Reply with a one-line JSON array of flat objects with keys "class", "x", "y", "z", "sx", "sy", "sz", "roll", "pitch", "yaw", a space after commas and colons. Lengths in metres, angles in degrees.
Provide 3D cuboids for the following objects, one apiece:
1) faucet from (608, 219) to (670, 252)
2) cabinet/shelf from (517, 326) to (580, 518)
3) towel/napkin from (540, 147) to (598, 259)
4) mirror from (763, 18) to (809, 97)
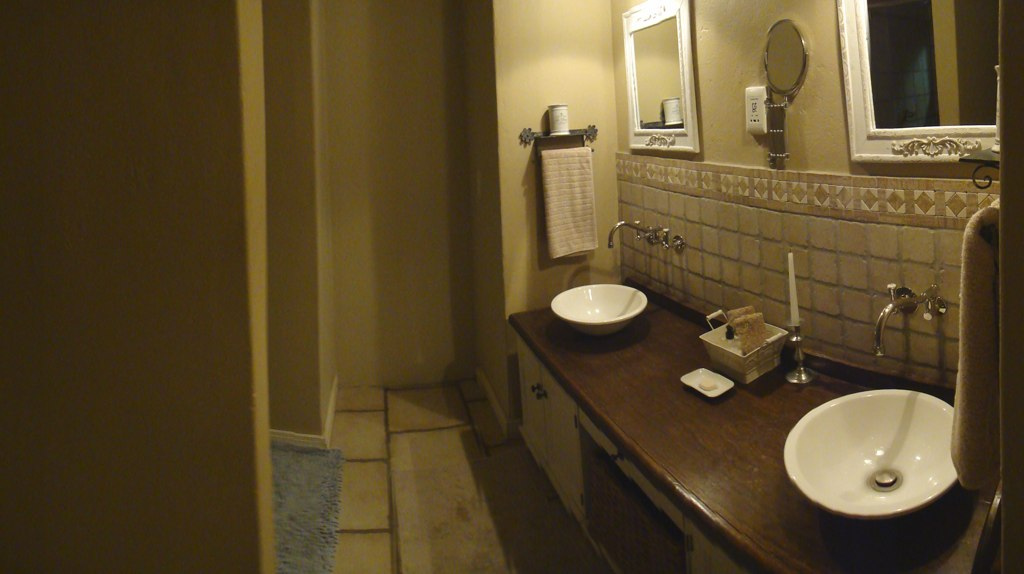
[{"class": "faucet", "x": 0.614, "y": -0.237, "z": 3.567, "sx": 0.344, "sy": 0.150, "sz": 0.110, "roll": 2, "pitch": 8, "yaw": 8}, {"class": "cabinet/shelf", "x": 0.169, "y": 0.590, "z": 3.273, "sx": 0.261, "sy": 0.585, "sz": 0.678, "roll": -3, "pitch": 18, "yaw": -16}, {"class": "towel/napkin", "x": 0.283, "y": -0.419, "z": 3.671, "sx": 0.253, "sy": 0.485, "sz": 0.184, "roll": -4, "pitch": 21, "yaw": -4}, {"class": "mirror", "x": 0.993, "y": -0.826, "z": 2.691, "sx": 0.035, "sy": 0.324, "sz": 0.264, "roll": -7, "pitch": 10, "yaw": -14}]
